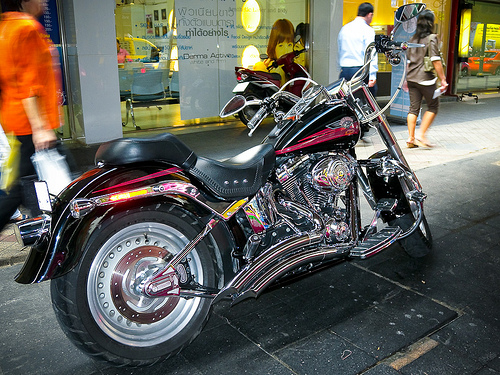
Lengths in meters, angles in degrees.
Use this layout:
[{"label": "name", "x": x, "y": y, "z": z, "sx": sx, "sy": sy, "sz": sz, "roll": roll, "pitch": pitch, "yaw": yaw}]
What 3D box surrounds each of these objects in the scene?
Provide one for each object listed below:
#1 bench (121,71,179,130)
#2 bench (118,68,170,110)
[{"label": "bench", "x": -2.852, "y": -2.518, "z": 9.788, "sx": 1.618, "sy": 2.060, "sz": 1.456, "roll": -10, "pitch": 17, "yaw": -27}, {"label": "bench", "x": -2.827, "y": -2.715, "z": 9.390, "sx": 0.894, "sy": 0.793, "sz": 0.696, "roll": -11, "pitch": 19, "yaw": -22}]
